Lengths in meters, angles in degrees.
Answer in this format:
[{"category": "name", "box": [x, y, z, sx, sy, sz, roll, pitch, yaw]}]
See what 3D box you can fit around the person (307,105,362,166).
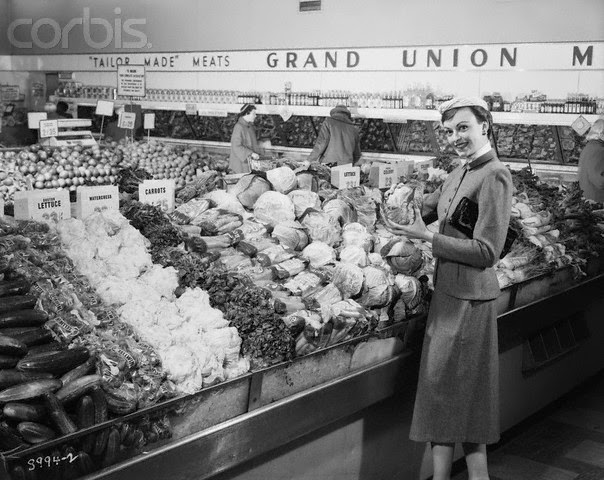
[{"category": "person", "box": [0.554, -1.604, 7.646, 0.819, 1.335, 0.772, 16, 22, 43]}]
